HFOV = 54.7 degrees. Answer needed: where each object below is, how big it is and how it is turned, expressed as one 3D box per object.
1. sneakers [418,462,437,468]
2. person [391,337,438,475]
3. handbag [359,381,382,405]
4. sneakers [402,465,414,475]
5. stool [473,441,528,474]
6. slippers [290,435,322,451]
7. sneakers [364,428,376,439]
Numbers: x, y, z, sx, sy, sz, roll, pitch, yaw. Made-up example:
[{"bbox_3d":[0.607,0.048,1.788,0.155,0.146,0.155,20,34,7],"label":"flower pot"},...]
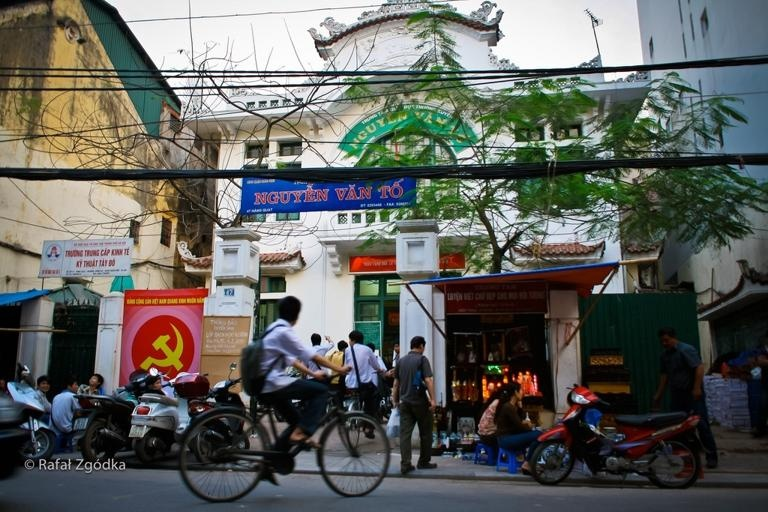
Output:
[{"bbox_3d":[0.887,4.252,15.182,0.416,0.182,0.134,-1,-1,-7],"label":"sneakers"},{"bbox_3d":[0.616,3.005,15.172,0.791,2.700,0.636,0,-10,0],"label":"person"},{"bbox_3d":[-0.332,3.387,18.246,0.623,0.496,0.857,0,29,0],"label":"handbag"},{"bbox_3d":[0.490,4.219,14.745,0.347,0.187,0.153,8,-13,-41],"label":"sneakers"},{"bbox_3d":[2.494,4.196,15.432,0.581,0.335,0.696,4,-10,-25],"label":"stool"},{"bbox_3d":[-1.335,3.207,12.749,0.541,0.207,0.170,1,-10,-7],"label":"slippers"},{"bbox_3d":[-0.265,3.115,13.150,0.201,0.264,0.147,2,-37,-15],"label":"sneakers"}]
